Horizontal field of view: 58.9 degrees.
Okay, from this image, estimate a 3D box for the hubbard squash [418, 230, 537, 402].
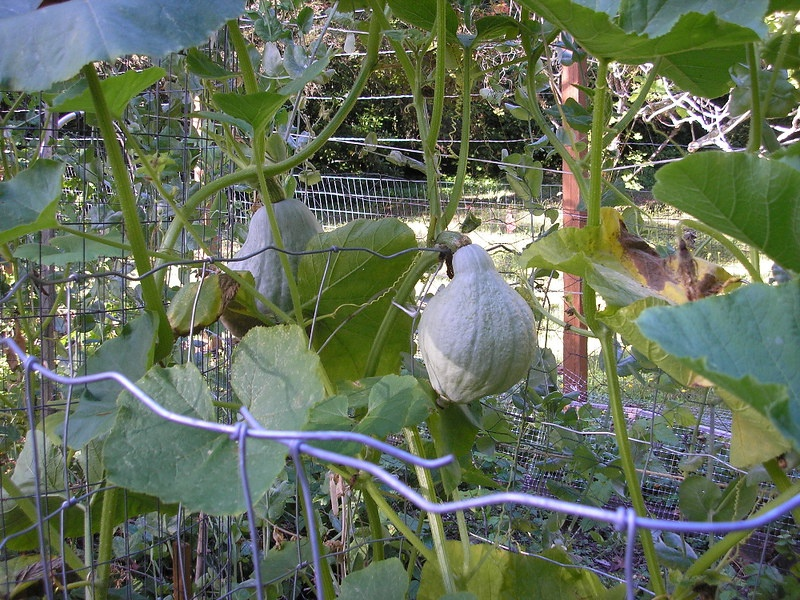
[{"bbox_3d":[0.116,0.033,1.083,0.169,0.276,0.196,-3,-2,7],"label":"hubbard squash"}]
